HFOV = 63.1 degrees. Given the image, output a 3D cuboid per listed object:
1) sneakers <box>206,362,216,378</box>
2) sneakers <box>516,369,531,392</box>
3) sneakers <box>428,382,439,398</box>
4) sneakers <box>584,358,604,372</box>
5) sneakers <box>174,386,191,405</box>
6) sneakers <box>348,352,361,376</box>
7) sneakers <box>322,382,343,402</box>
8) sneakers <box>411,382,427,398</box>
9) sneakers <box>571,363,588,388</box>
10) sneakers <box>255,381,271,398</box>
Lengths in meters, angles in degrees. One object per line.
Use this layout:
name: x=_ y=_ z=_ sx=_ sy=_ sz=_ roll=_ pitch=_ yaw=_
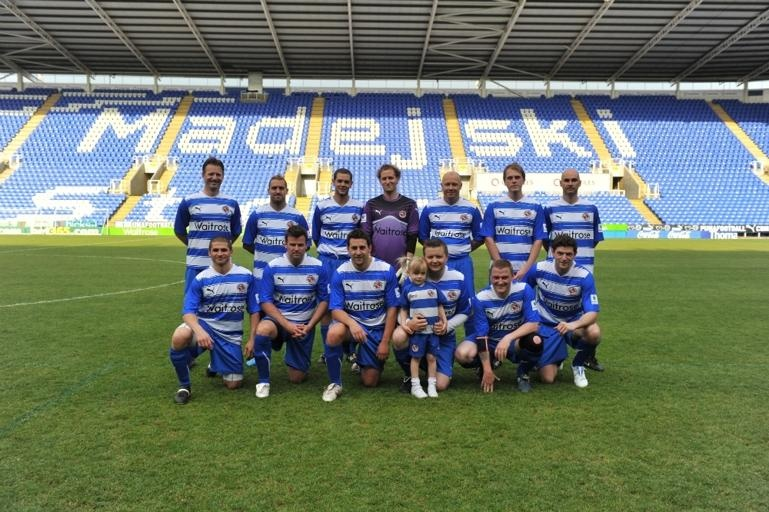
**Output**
sneakers: x=-2.124 y=1.399 z=7.655 sx=0.126 sy=0.082 sz=0.207 roll=29 pitch=-36 yaw=5
sneakers: x=1.638 y=1.455 z=7.346 sx=0.156 sy=0.237 sz=0.281 roll=0 pitch=-1 yaw=13
sneakers: x=0.555 y=1.538 z=7.175 sx=0.112 sy=0.151 sz=0.191 roll=0 pitch=-1 yaw=4
sneakers: x=2.614 y=1.358 z=7.793 sx=0.112 sy=0.129 sz=0.317 roll=1 pitch=-3 yaw=-26
sneakers: x=-2.248 y=1.567 z=6.977 sx=0.167 sy=0.134 sz=0.354 roll=3 pitch=-4 yaw=-14
sneakers: x=-0.384 y=1.372 z=7.919 sx=0.128 sy=0.159 sz=0.369 roll=1 pitch=-14 yaw=-4
sneakers: x=-0.598 y=1.540 z=7.056 sx=0.121 sy=0.111 sz=0.254 roll=4 pitch=-5 yaw=15
sneakers: x=0.389 y=1.530 z=7.150 sx=0.200 sy=0.161 sz=0.162 roll=0 pitch=-1 yaw=3
sneakers: x=2.331 y=1.425 z=7.433 sx=0.179 sy=0.230 sz=0.307 roll=0 pitch=-1 yaw=17
sneakers: x=-1.398 y=1.530 z=7.173 sx=0.162 sy=0.155 sz=0.249 roll=0 pitch=-1 yaw=-12
